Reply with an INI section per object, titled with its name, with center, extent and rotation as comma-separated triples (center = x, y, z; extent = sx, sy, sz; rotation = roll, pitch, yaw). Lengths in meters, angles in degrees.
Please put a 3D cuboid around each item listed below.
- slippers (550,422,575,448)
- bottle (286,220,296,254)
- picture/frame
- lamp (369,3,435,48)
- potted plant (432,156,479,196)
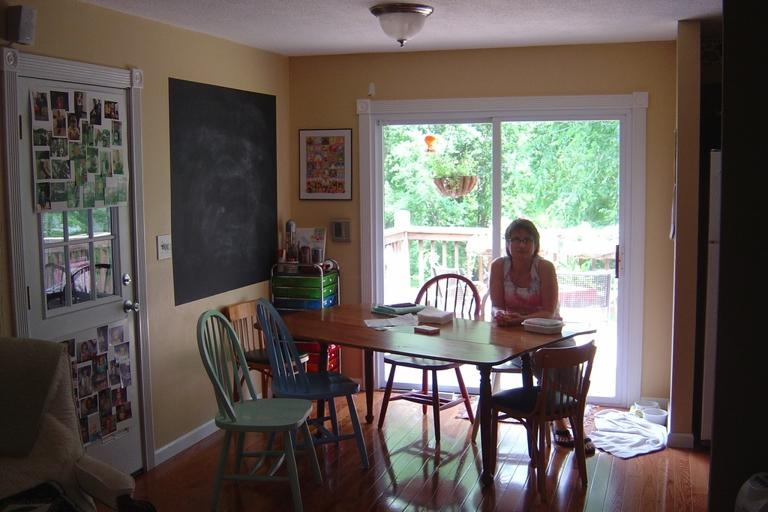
[slippers]
center = 1.371, 1.358, 4.250
extent = 0.111, 0.064, 0.198
rotation = -2, -2, -13
[bottle]
center = -0.861, -0.193, 5.174
extent = 0.089, 0.291, 0.262
rotation = -2, 12, -10
[picture/frame]
center = -0.529, -0.889, 5.255
extent = 0.691, 0.840, 0.031
rotation = 0, 1, 10
[lamp]
center = 0.121, -1.546, 3.783
extent = 0.248, 0.156, 0.262
rotation = 4, 4, 34
[potted plant]
center = 0.633, -0.726, 5.134
extent = 0.356, 0.353, 0.377
rotation = -2, 4, -16
